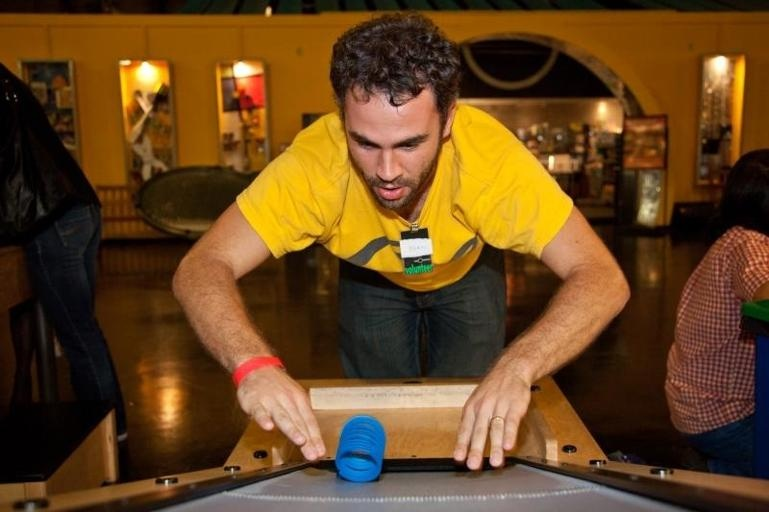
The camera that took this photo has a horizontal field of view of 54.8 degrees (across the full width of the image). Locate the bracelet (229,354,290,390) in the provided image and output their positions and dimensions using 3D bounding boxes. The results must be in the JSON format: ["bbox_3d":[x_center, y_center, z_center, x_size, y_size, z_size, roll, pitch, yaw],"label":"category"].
[{"bbox_3d":[-0.470,0.408,2.727,0.131,0.038,0.131,-14,17,-2],"label":"bracelet"}]

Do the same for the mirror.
[{"bbox_3d":[-2.810,-1.847,10.508,2.475,2.380,0.351,-3,6,-18],"label":"mirror"}]
